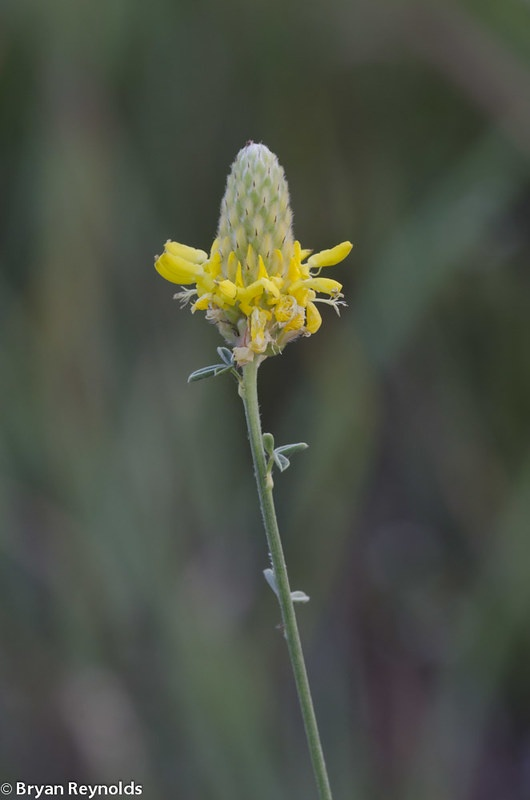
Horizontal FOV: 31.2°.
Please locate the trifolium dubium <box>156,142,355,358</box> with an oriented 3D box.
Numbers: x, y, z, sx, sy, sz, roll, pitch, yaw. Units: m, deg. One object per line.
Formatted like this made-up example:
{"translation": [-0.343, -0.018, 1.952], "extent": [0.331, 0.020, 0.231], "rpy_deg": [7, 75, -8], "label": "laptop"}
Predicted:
{"translation": [-0.019, -0.222, 1.413], "extent": [0.289, 0.303, 0.261], "rpy_deg": [-24, 33, -34], "label": "trifolium dubium"}
